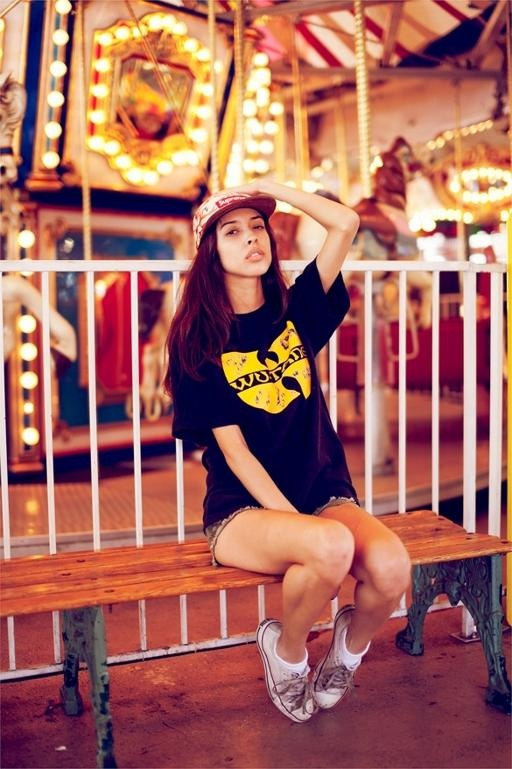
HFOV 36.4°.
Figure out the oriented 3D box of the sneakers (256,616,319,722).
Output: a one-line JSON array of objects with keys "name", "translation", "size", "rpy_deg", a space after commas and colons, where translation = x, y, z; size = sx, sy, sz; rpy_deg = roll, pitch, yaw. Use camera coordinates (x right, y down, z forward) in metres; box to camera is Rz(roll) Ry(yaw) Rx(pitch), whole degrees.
[{"name": "sneakers", "translation": [0.070, 0.714, 1.938], "size": [0.114, 0.274, 0.110], "rpy_deg": [-21, 0, -28]}]
